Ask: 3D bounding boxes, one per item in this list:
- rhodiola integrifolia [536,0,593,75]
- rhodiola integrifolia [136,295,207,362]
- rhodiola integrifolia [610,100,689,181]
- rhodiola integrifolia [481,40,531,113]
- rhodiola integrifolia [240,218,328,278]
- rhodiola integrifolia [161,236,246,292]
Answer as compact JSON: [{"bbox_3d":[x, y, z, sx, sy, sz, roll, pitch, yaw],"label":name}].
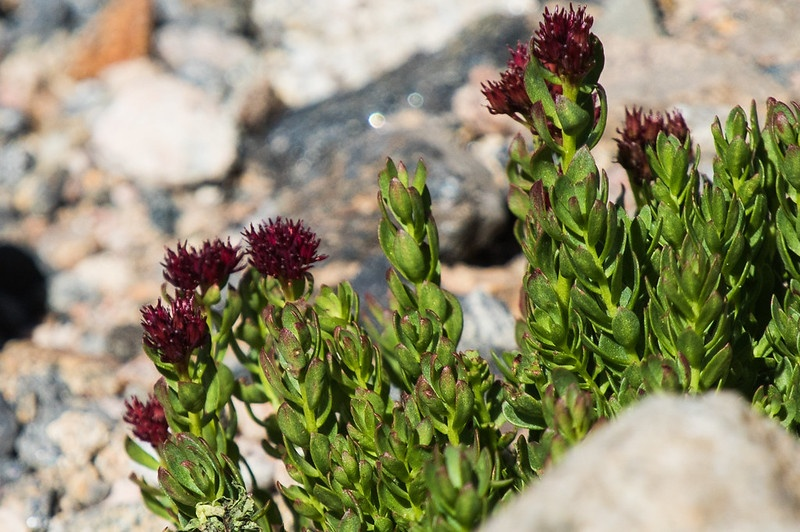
[{"bbox_3d":[0.791,-1.126,6.773,0.287,0.312,0.405,-4,96,-6],"label":"rhodiola integrifolia"},{"bbox_3d":[-1.133,0.308,6.895,0.310,0.302,0.317,-40,81,-14],"label":"rhodiola integrifolia"},{"bbox_3d":[1.342,-0.660,7.319,0.405,0.414,0.488,4,93,-8],"label":"rhodiola integrifolia"},{"bbox_3d":[0.523,-0.930,6.927,0.282,0.309,0.402,-10,95,-7],"label":"rhodiola integrifolia"},{"bbox_3d":[-0.598,-0.106,6.933,0.321,0.333,0.266,23,80,0],"label":"rhodiola integrifolia"},{"bbox_3d":[-1.026,-0.006,7.009,0.310,0.300,0.232,-19,109,-40],"label":"rhodiola integrifolia"}]
